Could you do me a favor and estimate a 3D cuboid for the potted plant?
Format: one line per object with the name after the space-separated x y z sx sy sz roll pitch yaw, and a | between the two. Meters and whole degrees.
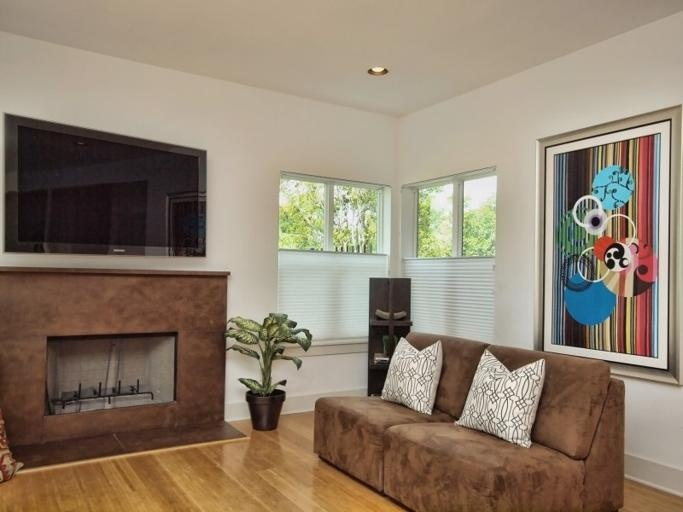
-0.745 1.116 5.147 1.005 1.281 0.970 4 -9 -21 | potted plant

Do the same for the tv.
-2.138 -0.614 4.353 1.219 0.895 0.054 3 -5 -35 | tv
